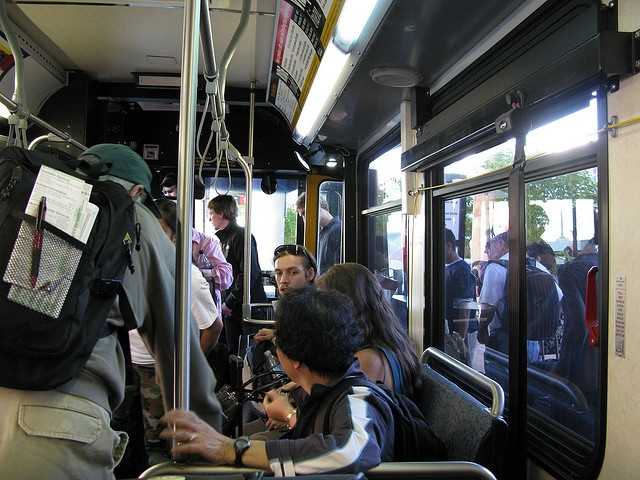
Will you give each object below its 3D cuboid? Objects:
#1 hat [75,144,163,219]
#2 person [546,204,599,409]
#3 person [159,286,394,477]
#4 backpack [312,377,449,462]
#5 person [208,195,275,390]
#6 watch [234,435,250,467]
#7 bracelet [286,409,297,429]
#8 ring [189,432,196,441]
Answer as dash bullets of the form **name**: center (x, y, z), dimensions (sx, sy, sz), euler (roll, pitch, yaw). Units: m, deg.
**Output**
- **hat**: center (-0.732, -0.239, 1.805), dimensions (0.196, 0.164, 0.290), euler (17, -19, 38)
- **person**: center (1.198, 0.326, 2.182), dimensions (0.115, 0.867, 0.425), euler (1, -5, 7)
- **person**: center (-0.156, 0.550, 1.813), dimensions (0.706, 0.628, 0.566), euler (7, -22, -12)
- **backpack**: center (0.209, 0.717, 1.841), dimensions (0.377, 0.388, 0.341), euler (0, -2, 0)
- **person**: center (-0.831, 0.546, 4.952), dimensions (0.605, 2.105, 0.602), euler (-18, 21, -40)
- **watch**: center (-0.260, 0.687, 1.531), dimensions (0.046, 0.073, 0.072), euler (5, 4, 1)
- **bracelet**: center (-0.123, 0.782, 2.045), dimensions (0.026, 0.074, 0.054), euler (4, -10, 8)
- **ring**: center (-0.384, 0.597, 1.415), dimensions (0.018, 0.023, 0.024), euler (-14, -24, 34)
